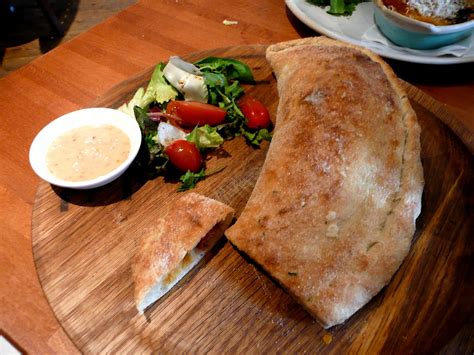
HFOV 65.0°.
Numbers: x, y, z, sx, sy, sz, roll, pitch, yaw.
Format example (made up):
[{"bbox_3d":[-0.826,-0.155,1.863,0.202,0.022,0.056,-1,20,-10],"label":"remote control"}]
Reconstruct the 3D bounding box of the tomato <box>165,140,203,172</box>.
[{"bbox_3d":[-0.359,-0.134,2.410,0.221,0.140,0.163,42,36,20],"label":"tomato"}]
